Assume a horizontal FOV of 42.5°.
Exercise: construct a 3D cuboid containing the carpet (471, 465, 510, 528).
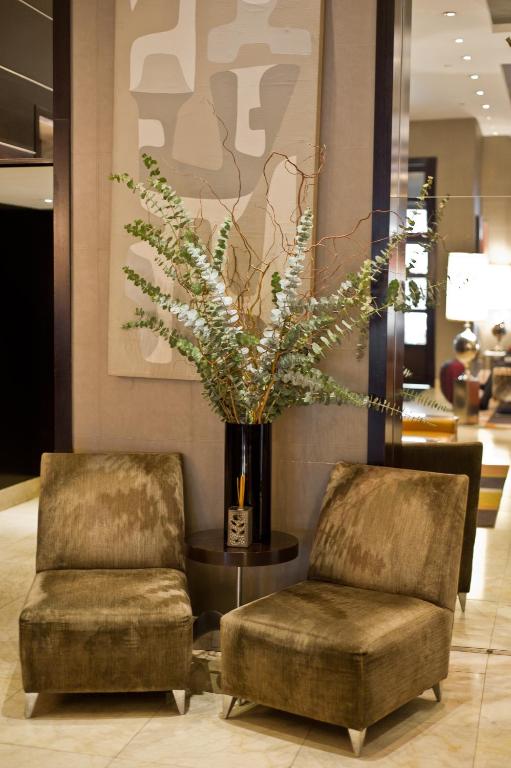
[{"bbox_3d":[1.162,0.556,3.204,0.012,0.330,0.279,-6,13,-12],"label":"carpet"}]
